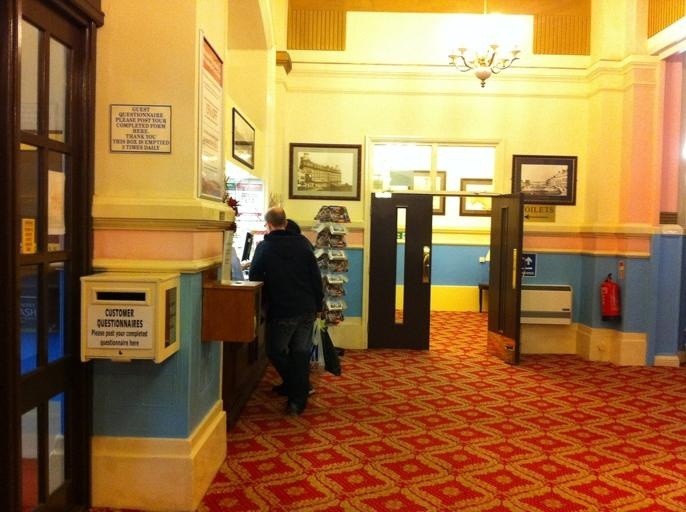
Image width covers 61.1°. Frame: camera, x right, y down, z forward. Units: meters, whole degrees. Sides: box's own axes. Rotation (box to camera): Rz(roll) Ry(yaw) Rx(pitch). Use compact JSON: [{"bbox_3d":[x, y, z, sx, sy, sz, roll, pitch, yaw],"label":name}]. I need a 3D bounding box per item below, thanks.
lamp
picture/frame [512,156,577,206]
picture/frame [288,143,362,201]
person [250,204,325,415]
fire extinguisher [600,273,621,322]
[{"bbox_3d":[1.905,-2.899,7.689,0.937,1.344,1.441,4,8,15],"label":"lamp"},{"bbox_3d":[2.842,-1.056,8.094,0.707,0.601,0.031,3,0,1],"label":"picture/frame"},{"bbox_3d":[-0.263,-1.227,8.244,0.798,0.626,0.029,1,1,-1],"label":"picture/frame"},{"bbox_3d":[-0.527,0.517,5.478,0.674,1.917,0.393,1,7,-4],"label":"person"},{"bbox_3d":[3.509,0.535,7.615,0.262,0.588,0.210,4,8,17],"label":"fire extinguisher"}]
